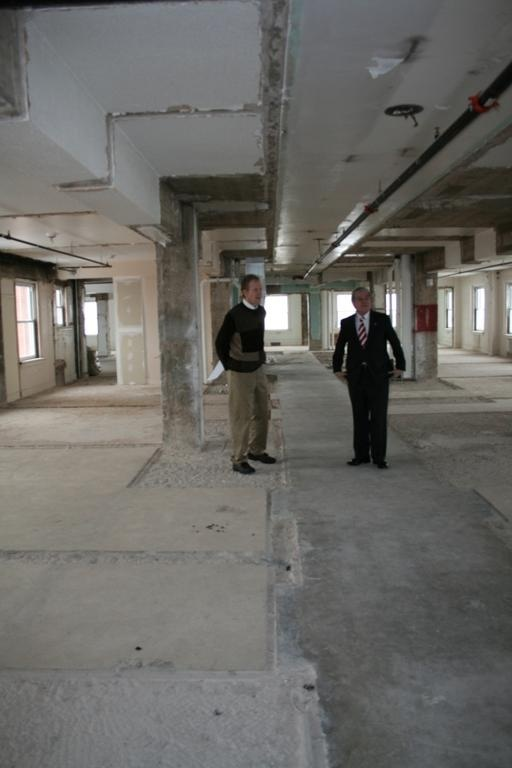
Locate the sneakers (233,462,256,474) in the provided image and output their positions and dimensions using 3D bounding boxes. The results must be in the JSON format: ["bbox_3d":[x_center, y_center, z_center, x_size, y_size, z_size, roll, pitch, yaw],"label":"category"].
[{"bbox_3d":[-0.107,0.697,4.527,0.202,0.090,0.075,-3,-1,37],"label":"sneakers"}]

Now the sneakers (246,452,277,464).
[{"bbox_3d":[0.045,0.641,4.762,0.249,0.116,0.094,4,6,14],"label":"sneakers"}]

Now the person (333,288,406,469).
[{"bbox_3d":[0.863,-0.039,4.284,0.521,1.412,0.365,-1,5,9],"label":"person"}]

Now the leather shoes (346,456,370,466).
[{"bbox_3d":[0.818,0.624,4.473,0.194,0.090,0.072,4,-1,-5],"label":"leather shoes"}]

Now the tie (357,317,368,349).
[{"bbox_3d":[0.801,-0.396,4.191,0.082,0.223,0.050,1,6,32],"label":"tie"}]

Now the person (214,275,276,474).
[{"bbox_3d":[-0.093,-0.041,4.546,0.349,1.535,0.461,0,6,22],"label":"person"}]

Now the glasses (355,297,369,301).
[{"bbox_3d":[0.793,-0.629,4.096,0.079,0.034,0.045,-3,6,-4],"label":"glasses"}]
